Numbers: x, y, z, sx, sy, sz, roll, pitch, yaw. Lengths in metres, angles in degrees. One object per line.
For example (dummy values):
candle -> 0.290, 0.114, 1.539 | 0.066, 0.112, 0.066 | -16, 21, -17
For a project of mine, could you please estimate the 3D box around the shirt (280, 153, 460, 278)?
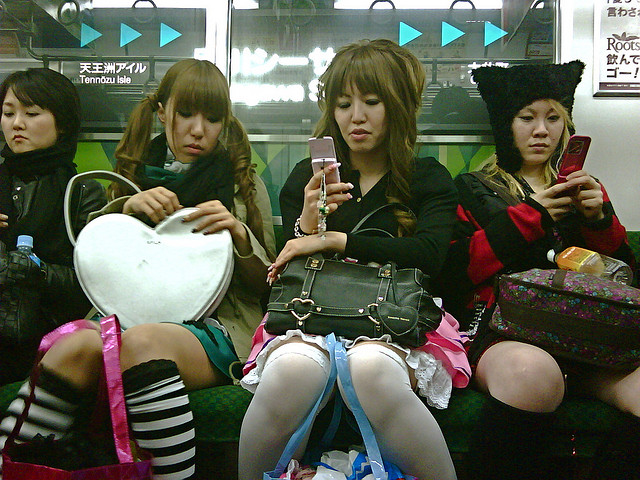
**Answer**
shirt -> 0.324, -0.120, 2.174 | 0.557, 0.225, 0.569 | 10, 53, 15

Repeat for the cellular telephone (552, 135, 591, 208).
cellular telephone -> 0.994, -0.266, 2.141 | 0.114, 0.289, 0.102 | 3, 17, 15

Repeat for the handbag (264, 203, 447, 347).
handbag -> 0.118, 0.106, 1.876 | 0.579, 0.494, 0.251 | 4, -7, 22

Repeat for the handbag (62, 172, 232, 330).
handbag -> -0.710, 0.047, 2.240 | 0.569, 0.619, 0.985 | -12, 19, -31

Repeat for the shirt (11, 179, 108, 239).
shirt -> -1.173, -0.184, 2.498 | 0.256, 0.362, 0.153 | 10, 27, 2

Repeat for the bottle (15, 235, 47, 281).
bottle -> -1.208, 0.078, 2.280 | 0.106, 0.159, 0.164 | 2, 0, 32

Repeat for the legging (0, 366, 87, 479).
legging -> -0.883, 0.565, 1.706 | 0.234, 0.303, 0.108 | 33, -2, -18

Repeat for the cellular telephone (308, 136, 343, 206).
cellular telephone -> 0.021, -0.227, 1.936 | 0.097, 0.249, 0.027 | -8, -12, -10

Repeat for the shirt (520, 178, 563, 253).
shirt -> 0.961, -0.128, 2.354 | 0.078, 0.373, 0.102 | -29, -6, 8

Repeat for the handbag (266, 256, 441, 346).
handbag -> 0.097, 0.167, 1.794 | 0.465, 0.189, 0.289 | 2, 8, 8

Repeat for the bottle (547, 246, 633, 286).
bottle -> 0.998, 0.091, 2.005 | 0.267, 0.082, 0.139 | 15, 23, 5
